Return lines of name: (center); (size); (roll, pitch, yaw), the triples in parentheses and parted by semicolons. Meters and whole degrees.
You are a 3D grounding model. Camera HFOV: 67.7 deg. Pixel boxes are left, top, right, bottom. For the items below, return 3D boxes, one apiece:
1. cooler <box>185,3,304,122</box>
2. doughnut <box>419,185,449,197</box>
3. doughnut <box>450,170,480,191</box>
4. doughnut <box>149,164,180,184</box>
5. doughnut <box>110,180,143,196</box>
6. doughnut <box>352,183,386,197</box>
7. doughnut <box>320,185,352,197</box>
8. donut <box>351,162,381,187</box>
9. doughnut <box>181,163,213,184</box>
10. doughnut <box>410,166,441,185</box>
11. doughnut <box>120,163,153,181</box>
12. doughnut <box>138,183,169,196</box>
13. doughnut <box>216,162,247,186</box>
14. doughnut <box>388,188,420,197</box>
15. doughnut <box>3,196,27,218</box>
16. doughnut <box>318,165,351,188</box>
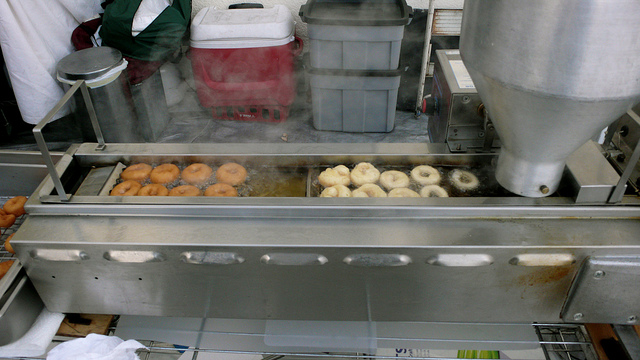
cooler: (-0.763, -1.251, 5.224); (1.170, 1.207, 0.471); (-2, 35, 4)
doughnut: (0.769, 0.075, 3.243); (0.102, 0.023, 0.104); (23, 41, 31)
doughnut: (1.014, -0.003, 3.325); (0.153, 0.035, 0.136); (16, 52, 17)
doughnut: (-1.108, -0.048, 3.412); (0.162, 0.058, 0.154); (-21, 46, -26)
doughnut: (-1.343, 0.051, 3.333); (0.199, 0.042, 0.170); (1, 31, 7)
doughnut: (0.330, 0.081, 3.264); (0.174, 0.052, 0.176); (-27, 38, -34)
doughnut: (0.116, 0.077, 3.270); (0.114, 0.036, 0.100); (-6, 38, -1)
donut: (0.290, -0.051, 3.411); (0.237, 0.080, 0.207); (13, 42, 32)
doughnut: (-0.886, -0.047, 3.439); (0.209, 0.092, 0.143); (-1, 32, 4)
doughnut: (0.741, -0.035, 3.357); (0.158, 0.043, 0.137); (-8, 39, -8)
doughnut: (-1.314, -0.060, 3.420); (0.155, 0.053, 0.142); (-8, 35, -17)
doughnut: (-1.152, 0.067, 3.314); (0.119, 0.041, 0.103); (4, 40, -8)
doughnut: (-0.612, -0.053, 3.487); (0.269, 0.092, 0.243); (-3, 32, 0)
doughnut: (0.571, 0.084, 3.250); (0.200, 0.035, 0.095); (2, 32, 10)
doughnut: (-2.376, 0.215, 3.727); (0.151, 0.047, 0.130); (1, 42, -2)
doughnut: (0.109, -0.029, 3.356); (0.189, 0.063, 0.161); (-3, 43, -3)
